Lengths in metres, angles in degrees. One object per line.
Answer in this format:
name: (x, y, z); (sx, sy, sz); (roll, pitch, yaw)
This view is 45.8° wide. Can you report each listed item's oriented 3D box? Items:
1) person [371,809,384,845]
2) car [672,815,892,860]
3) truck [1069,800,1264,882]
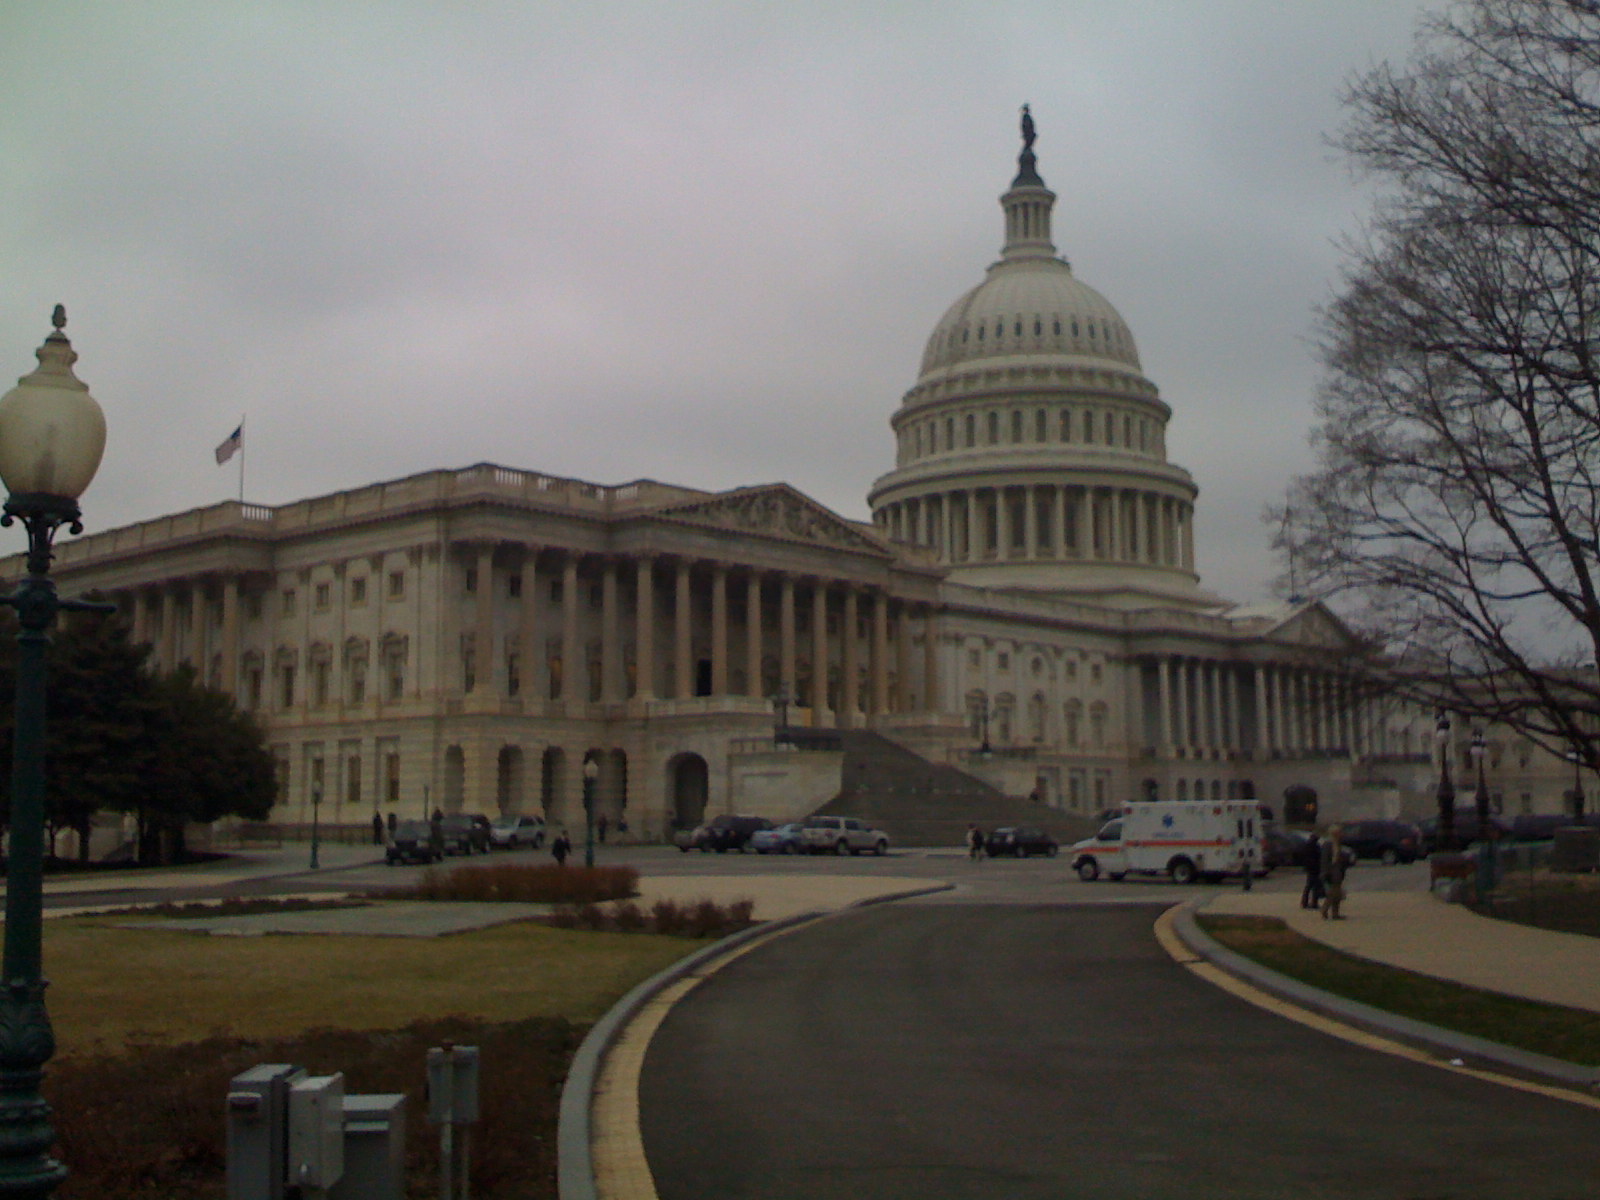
person: (-18.250, 9.955, 81.676); (0.302, 1.186, 1.813); (1, -10, -12)
car: (-0.641, 8.965, 72.014); (7.404, 1.591, 2.935); (-3, -10, 13)
truck: (10.673, 7.184, 56.044); (5.531, 2.290, 2.547); (-3, -7, 34)
